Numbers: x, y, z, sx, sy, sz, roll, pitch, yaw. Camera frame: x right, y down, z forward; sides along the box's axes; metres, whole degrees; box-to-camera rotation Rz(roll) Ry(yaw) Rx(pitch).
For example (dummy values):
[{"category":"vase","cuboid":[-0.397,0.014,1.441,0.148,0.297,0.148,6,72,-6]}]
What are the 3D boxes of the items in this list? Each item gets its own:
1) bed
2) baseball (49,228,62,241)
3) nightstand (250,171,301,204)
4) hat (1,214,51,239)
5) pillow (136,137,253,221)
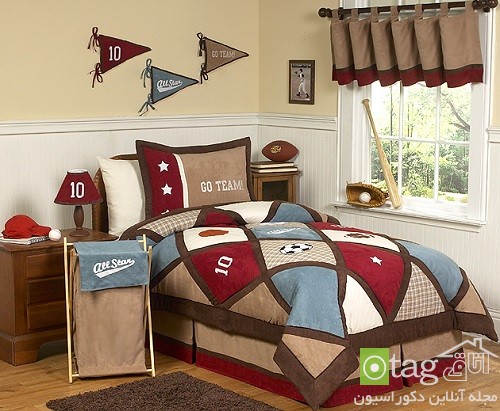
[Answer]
[{"category":"bed","cuboid":[0.159,0.348,2.494,1.052,0.715,1.575,-9,12,-41]},{"category":"baseball","cuboid":[-1.223,0.190,2.808,0.083,0.066,0.073,-1,4,44]},{"category":"nightstand","cuboid":[0.232,-0.199,4.027,0.431,0.412,0.276,-4,8,-30]},{"category":"hat","cuboid":[-1.429,0.148,2.799,0.197,0.067,0.201,7,6,39]},{"category":"pillow","cuboid":[-0.383,-0.222,3.406,0.870,0.612,0.174,-6,24,-11]}]
